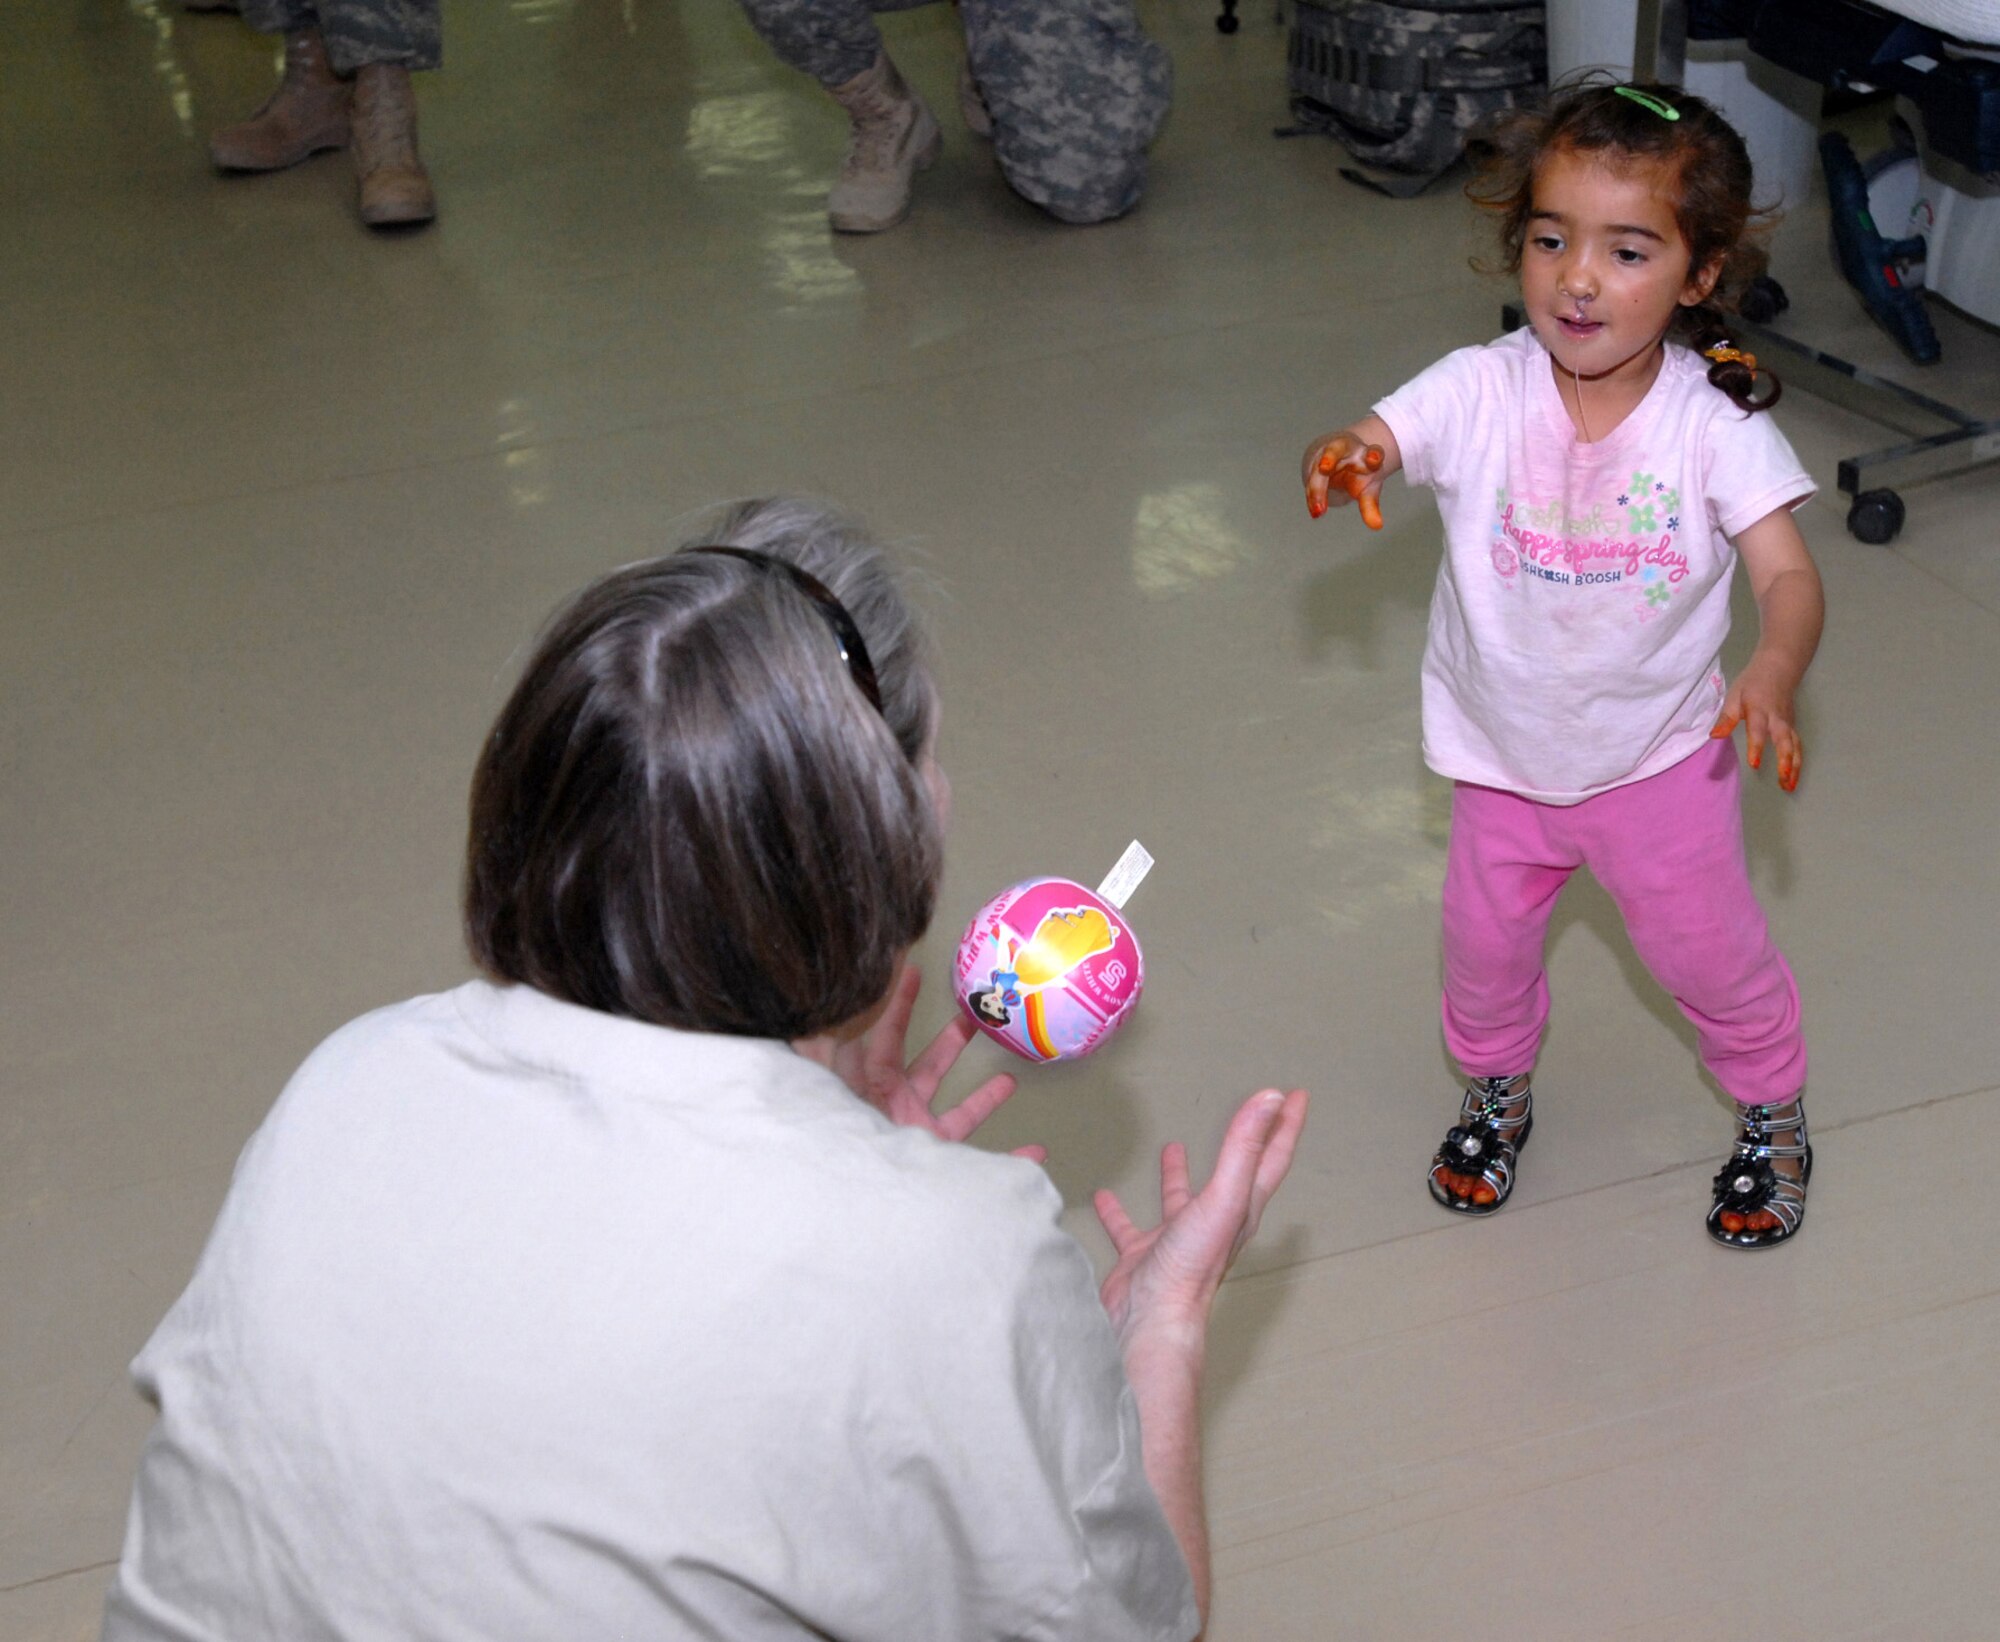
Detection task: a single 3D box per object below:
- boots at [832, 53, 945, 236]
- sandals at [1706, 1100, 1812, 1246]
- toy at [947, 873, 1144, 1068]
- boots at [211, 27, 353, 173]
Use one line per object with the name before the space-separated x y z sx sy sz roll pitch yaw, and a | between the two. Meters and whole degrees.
boots | -0.297 -1.620 3.699 0.132 0.303 0.411 6 55 31
sandals | 0.817 0.354 1.677 0.071 0.132 0.188 4 34 27
toy | 0.034 0.131 1.346 0.142 0.149 0.152 3 46 -9
boots | -1.913 -1.953 4.211 0.363 0.214 0.627 -3 39 3
